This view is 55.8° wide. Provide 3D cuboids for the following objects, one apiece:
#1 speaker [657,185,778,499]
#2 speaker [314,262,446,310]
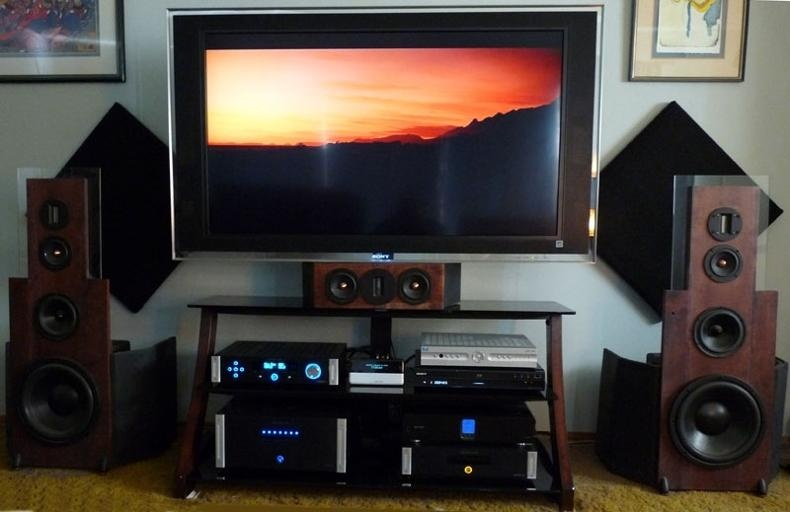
[{"bbox_3d":[1.458,0.379,3.370,0.526,1.288,0.572,0,-22,-2],"label":"speaker"},{"bbox_3d":[-0.102,0.204,3.577,0.699,0.240,0.353,0,-24,-4],"label":"speaker"}]
